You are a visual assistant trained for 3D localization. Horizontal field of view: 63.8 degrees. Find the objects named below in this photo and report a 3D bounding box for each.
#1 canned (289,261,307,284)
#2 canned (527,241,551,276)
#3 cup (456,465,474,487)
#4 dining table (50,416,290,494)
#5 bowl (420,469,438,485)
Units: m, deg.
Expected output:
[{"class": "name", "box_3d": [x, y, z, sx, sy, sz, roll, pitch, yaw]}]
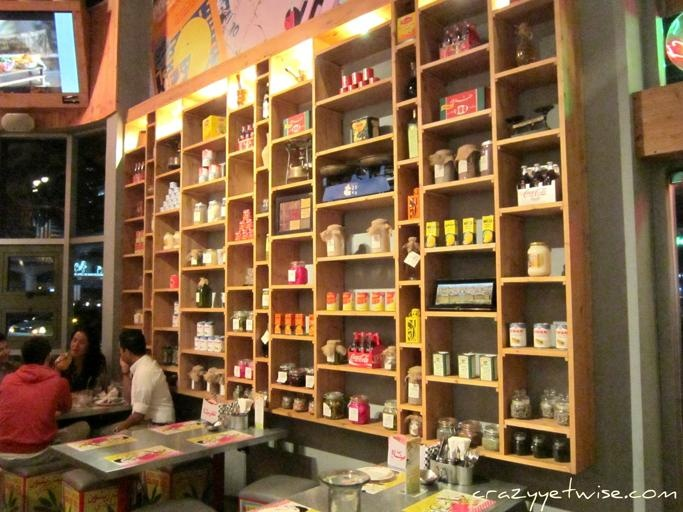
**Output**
[{"class": "canned", "box_3d": [-0.396, 0.150, 4.781, 0.178, 0.187, 0.183, 1, -6, -19]}, {"class": "canned", "box_3d": [1.280, 0.019, 3.566, 0.140, 0.243, 0.109, -2, -13, 19]}, {"class": "cup", "box_3d": [0.802, 1.428, 3.565, 0.135, 0.105, 0.107, -1, -2, 0]}, {"class": "dining table", "box_3d": [-1.382, 1.531, 4.286, 1.418, 0.328, 0.841, 11, -15, -39]}, {"class": "bowl", "box_3d": [0.558, 1.429, 3.537, 0.097, 0.029, 0.096, -5, 6, 1]}]
